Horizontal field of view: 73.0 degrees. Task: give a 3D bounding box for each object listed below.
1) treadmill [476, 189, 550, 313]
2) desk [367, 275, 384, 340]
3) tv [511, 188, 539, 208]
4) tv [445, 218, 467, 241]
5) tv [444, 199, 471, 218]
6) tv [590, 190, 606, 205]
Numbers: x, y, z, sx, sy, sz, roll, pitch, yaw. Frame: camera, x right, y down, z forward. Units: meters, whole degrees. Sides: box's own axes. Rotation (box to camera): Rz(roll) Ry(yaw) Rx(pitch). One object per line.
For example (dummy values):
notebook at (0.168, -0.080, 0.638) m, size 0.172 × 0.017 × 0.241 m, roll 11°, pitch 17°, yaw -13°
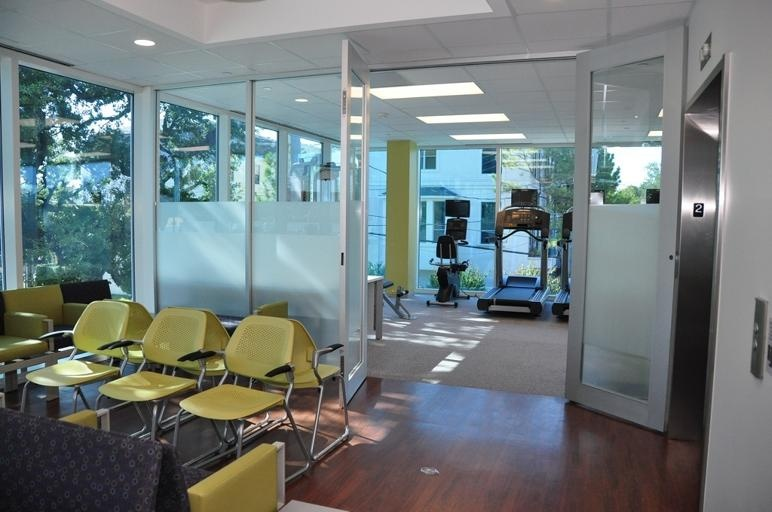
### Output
treadmill at (2.761, -0.187, 10.751) m, size 1.231 × 2.380 × 2.541 m, roll 5°, pitch 12°, yaw 17°
desk at (-0.151, 0.795, 7.955) m, size 0.198 × 0.993 × 0.420 m, roll 3°, pitch 12°, yaw 7°
tv at (2.751, -1.065, 10.362) m, size 0.626 × 0.416 × 0.345 m, roll 0°, pitch 0°, yaw 29°
tv at (1.548, -0.583, 11.397) m, size 0.440 × 0.539 × 0.463 m, roll 2°, pitch 2°, yaw 17°
tv at (1.582, -1.039, 11.579) m, size 0.503 × 0.340 × 0.142 m, roll 0°, pitch -1°, yaw 8°
tv at (2.188, -0.598, 5.416) m, size 0.036 × 0.125 × 0.143 m, roll -5°, pitch 10°, yaw -43°
